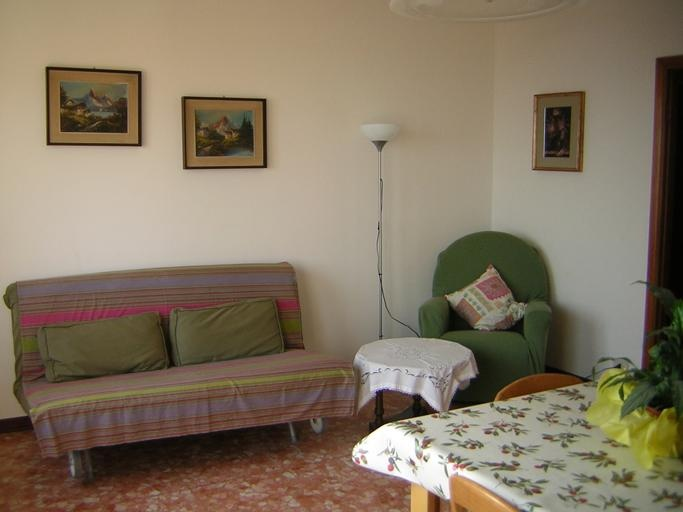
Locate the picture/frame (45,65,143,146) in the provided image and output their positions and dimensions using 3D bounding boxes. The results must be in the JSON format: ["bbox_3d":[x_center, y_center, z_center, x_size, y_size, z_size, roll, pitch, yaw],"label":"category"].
[{"bbox_3d":[-1.743,-1.053,3.587,0.558,0.481,0.045,-4,11,-19],"label":"picture/frame"}]

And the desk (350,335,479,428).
[{"bbox_3d":[0.484,0.837,3.458,0.881,0.423,0.877,-2,3,-13],"label":"desk"}]

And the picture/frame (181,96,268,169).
[{"bbox_3d":[-0.905,-0.937,3.882,0.543,0.468,0.040,-3,8,-20],"label":"picture/frame"}]

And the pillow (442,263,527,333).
[{"bbox_3d":[1.129,0.331,4.087,0.584,0.445,0.358,-1,8,-5],"label":"pillow"}]

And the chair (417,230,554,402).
[{"bbox_3d":[1.153,0.487,4.153,0.998,1.270,1.210,-2,2,13],"label":"chair"}]
